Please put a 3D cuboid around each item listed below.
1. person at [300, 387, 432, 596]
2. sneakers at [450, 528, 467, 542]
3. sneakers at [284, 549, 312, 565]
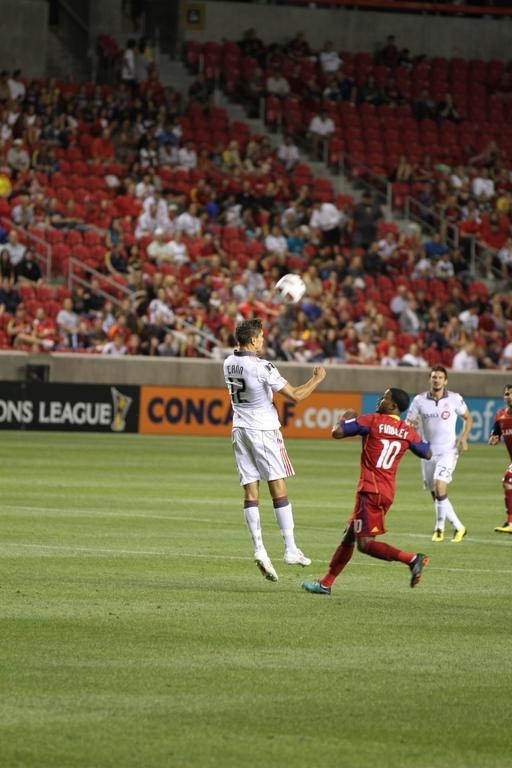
[{"bbox_3d":[1.013,0.997,12.705,1.177,0.736,1.723,3,45,16],"label":"person"},{"bbox_3d":[1.833,1.363,12.552,0.107,0.215,0.071,-19,31,-39],"label":"sneakers"},{"bbox_3d":[0.280,1.262,10.100,0.272,0.142,0.089,0,-1,-4],"label":"sneakers"}]
